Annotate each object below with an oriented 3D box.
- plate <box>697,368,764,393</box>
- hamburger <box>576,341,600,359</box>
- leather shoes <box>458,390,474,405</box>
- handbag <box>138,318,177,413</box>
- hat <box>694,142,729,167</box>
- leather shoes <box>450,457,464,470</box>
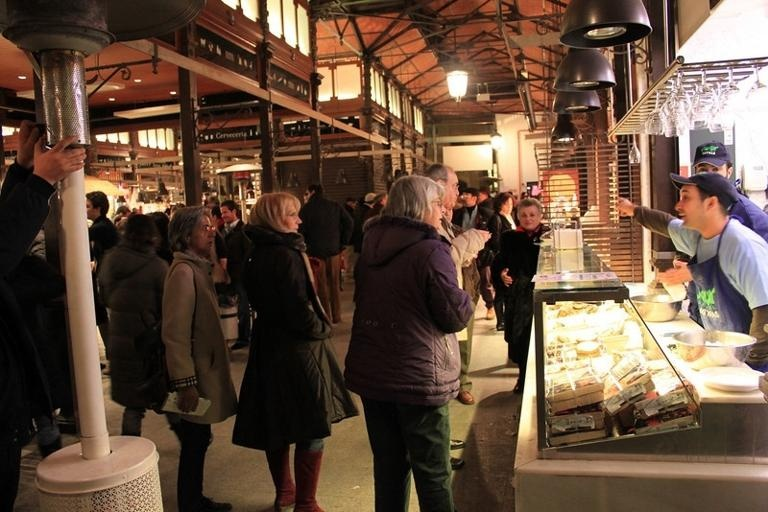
[{"bbox_3d":[1.994,0.712,3.562,0.329,0.103,0.229,0,6,23],"label":"plate"},{"bbox_3d":[1.432,0.663,4.307,0.168,0.080,0.112,-1,6,19],"label":"hamburger"},{"bbox_3d":[0.883,1.527,6.631,0.110,0.089,0.242,-1,-4,-2],"label":"leather shoes"},{"bbox_3d":[-1.794,0.860,4.695,0.231,0.642,0.497,-2,-10,8],"label":"handbag"},{"bbox_3d":[3.258,-1.001,6.078,0.235,0.192,0.359,3,2,34],"label":"hat"},{"bbox_3d":[0.622,1.782,5.324,0.126,0.124,0.301,1,-12,2],"label":"leather shoes"}]
